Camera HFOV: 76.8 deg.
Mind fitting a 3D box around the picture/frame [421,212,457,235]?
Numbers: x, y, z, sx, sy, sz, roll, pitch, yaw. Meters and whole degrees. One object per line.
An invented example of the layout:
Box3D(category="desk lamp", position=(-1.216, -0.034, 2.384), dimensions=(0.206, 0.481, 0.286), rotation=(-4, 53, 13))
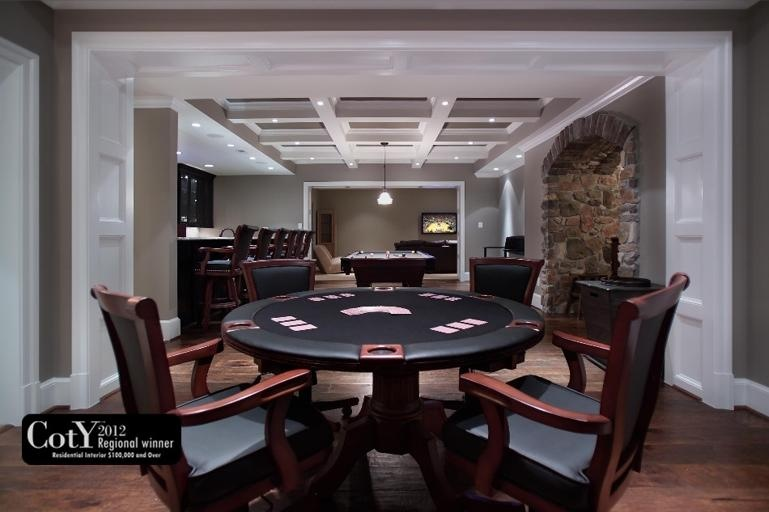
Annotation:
Box3D(category="picture/frame", position=(1.501, -0.883, 13.121), dimensions=(0.786, 0.409, 0.050), rotation=(0, -3, 3))

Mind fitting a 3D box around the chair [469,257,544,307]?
Box3D(category="chair", position=(0.927, 0.221, 3.858), dimensions=(0.410, 0.590, 0.455), rotation=(-1, -6, 31))

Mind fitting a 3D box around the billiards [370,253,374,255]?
Box3D(category="billiards", position=(-0.179, -0.019, 6.880), dimensions=(0.037, 0.019, 0.036), rotation=(4, 11, 26))

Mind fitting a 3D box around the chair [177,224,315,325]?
Box3D(category="chair", position=(-1.463, 0.196, 4.893), dimensions=(0.440, 0.642, 1.370), rotation=(1, 4, 10))
